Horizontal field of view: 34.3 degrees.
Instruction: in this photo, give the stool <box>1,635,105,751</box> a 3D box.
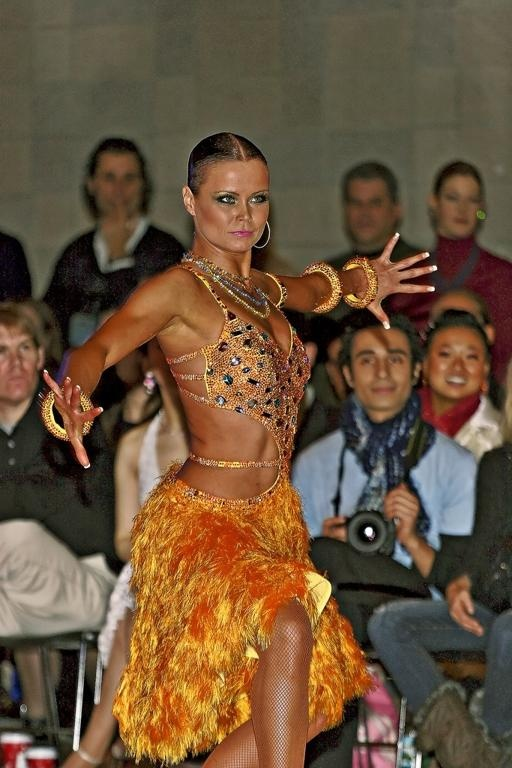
[{"bbox_3d":[-0.776,1.251,3.473,0.479,0.549,0.434,0,-11,-10],"label":"stool"}]
